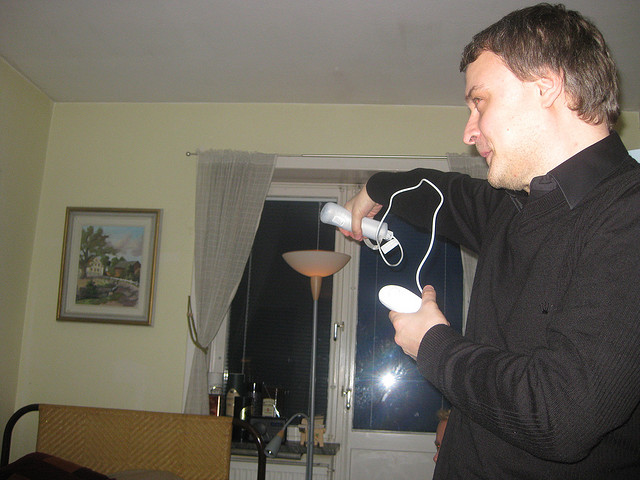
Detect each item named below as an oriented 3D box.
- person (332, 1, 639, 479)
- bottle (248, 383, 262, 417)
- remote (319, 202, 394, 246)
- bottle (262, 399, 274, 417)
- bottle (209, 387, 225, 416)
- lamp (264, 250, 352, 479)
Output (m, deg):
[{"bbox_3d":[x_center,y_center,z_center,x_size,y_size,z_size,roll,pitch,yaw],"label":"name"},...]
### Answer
[{"bbox_3d":[0.529,0.013,1.582,0.619,1.304,0.628,-1,-13,13],"label":"person"},{"bbox_3d":[-0.447,1.077,3.769,0.098,0.264,0.100,3,4,0],"label":"bottle"},{"bbox_3d":[0.090,-0.062,2.170,0.375,0.124,0.119,19,8,16],"label":"remote"},{"bbox_3d":[-0.344,1.108,3.691,0.083,0.104,0.086,7,-14,-25],"label":"bottle"},{"bbox_3d":[-0.681,1.062,3.656,0.054,0.158,0.149,-3,-12,5],"label":"bottle"},{"bbox_3d":[-0.068,0.744,3.323,0.441,1.343,0.570,3,-12,-2],"label":"lamp"}]
